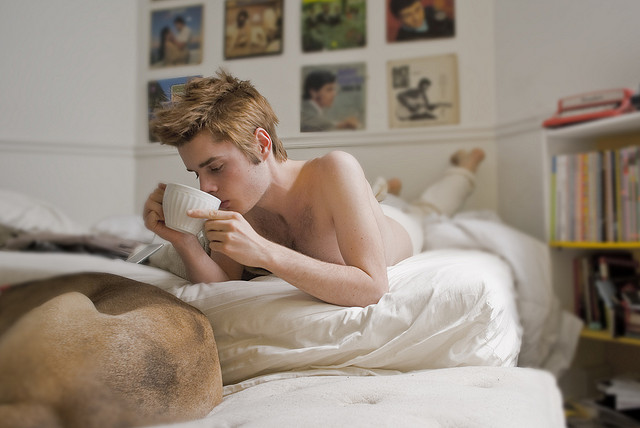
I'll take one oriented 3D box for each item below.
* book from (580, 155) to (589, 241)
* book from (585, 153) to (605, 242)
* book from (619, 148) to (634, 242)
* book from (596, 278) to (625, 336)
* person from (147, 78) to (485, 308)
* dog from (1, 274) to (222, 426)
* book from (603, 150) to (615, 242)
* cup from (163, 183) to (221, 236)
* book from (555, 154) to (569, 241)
[{"bbox_3d":[0.518,-0.033,1.059,0.017,0.163,0.031,2,6,22],"label":"book"},{"bbox_3d":[0.543,-0.034,1.072,0.036,0.171,0.056,-6,5,-44],"label":"book"},{"bbox_3d":[0.585,-0.036,1.033,0.022,0.171,0.039,1,6,13],"label":"book"},{"bbox_3d":[0.552,0.176,1.035,0.034,0.143,0.043,-22,21,-31],"label":"book"},{"bbox_3d":[0.088,-0.108,1.565,0.591,0.521,1.135,0,8,41],"label":"person"},{"bbox_3d":[-0.333,0.245,0.921,0.334,0.111,0.237,14,33,-40],"label":"dog"},{"bbox_3d":[0.558,-0.034,1.046,0.020,0.172,0.029,1,6,15],"label":"book"},{"bbox_3d":[-0.265,-0.004,1.151,0.116,0.092,0.127,15,-14,4],"label":"cup"},{"bbox_3d":[0.478,-0.031,1.068,0.027,0.166,0.027,2,6,23],"label":"book"}]
